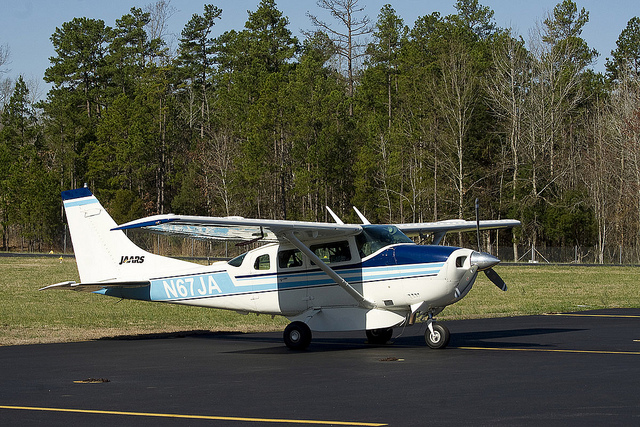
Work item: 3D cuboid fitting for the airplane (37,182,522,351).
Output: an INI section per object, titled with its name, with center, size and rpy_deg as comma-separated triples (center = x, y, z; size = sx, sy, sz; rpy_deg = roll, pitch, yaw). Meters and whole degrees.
[airplane]
center = -1.508, 1.742, 25.631
size = 13.490, 4.939, 4.443
rpy_deg = -1, 6, -2
